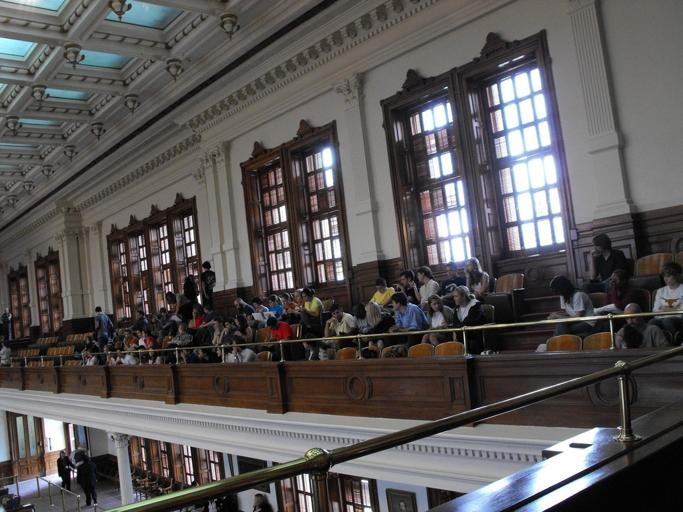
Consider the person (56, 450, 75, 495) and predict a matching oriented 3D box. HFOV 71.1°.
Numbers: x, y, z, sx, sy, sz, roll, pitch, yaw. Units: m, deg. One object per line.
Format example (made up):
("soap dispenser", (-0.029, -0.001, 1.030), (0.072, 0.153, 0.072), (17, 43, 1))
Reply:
("person", (-11.640, 8.997, 20.028), (0.531, 1.529, 1.270), (-4, -8, -31))
